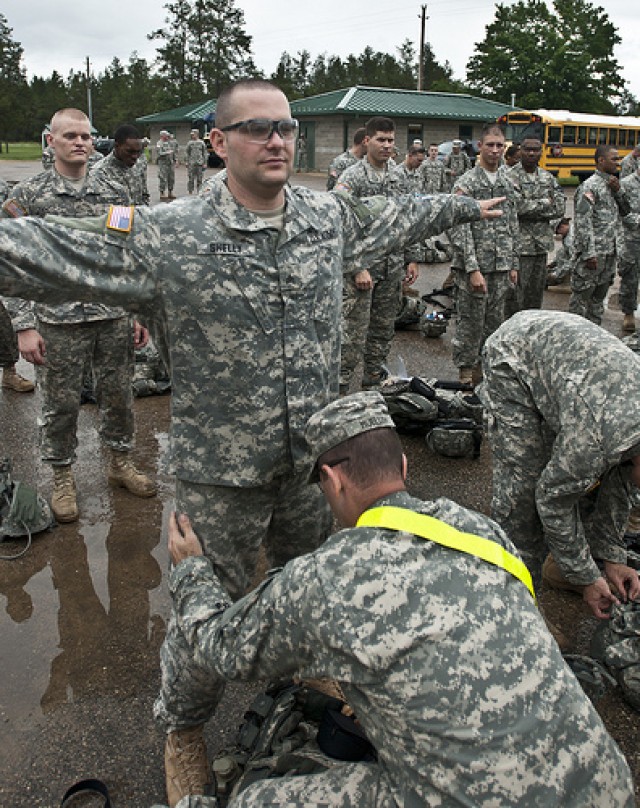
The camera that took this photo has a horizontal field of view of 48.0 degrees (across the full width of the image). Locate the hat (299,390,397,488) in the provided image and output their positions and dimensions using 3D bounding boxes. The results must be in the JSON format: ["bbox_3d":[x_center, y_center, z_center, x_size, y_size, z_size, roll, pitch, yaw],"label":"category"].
[{"bbox_3d":[0.086,0.068,2.047,0.243,0.154,0.305,-4,-15,-41],"label":"hat"}]

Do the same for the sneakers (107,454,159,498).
[{"bbox_3d":[-1.145,0.457,4.419,0.278,0.178,0.088,28,40,2],"label":"sneakers"}]

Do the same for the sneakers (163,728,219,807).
[{"bbox_3d":[-0.417,1.156,2.341,0.104,0.104,0.265,2,46,-19],"label":"sneakers"}]
